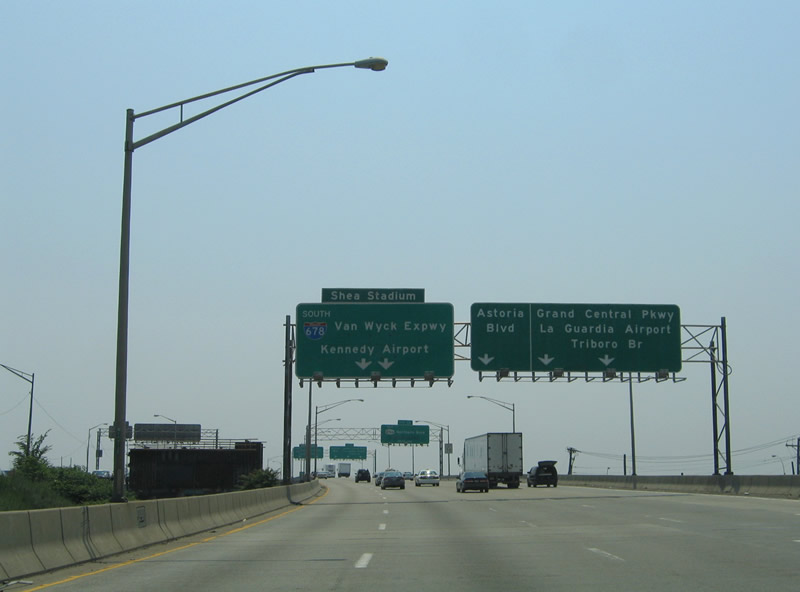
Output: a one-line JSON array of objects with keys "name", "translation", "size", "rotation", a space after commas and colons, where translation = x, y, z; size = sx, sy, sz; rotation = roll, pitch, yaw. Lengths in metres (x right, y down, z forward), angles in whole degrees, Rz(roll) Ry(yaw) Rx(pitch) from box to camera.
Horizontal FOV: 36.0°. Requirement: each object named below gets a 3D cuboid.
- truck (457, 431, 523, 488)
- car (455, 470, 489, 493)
[{"name": "truck", "translation": [5.635, 10.965, 80.641], "size": [2.531, 3.682, 6.741], "rotation": [1, -8, -16]}, {"name": "car", "translation": [4.047, 10.445, 69.120], "size": [1.493, 1.385, 2.397], "rotation": [2, -15, -15]}]
